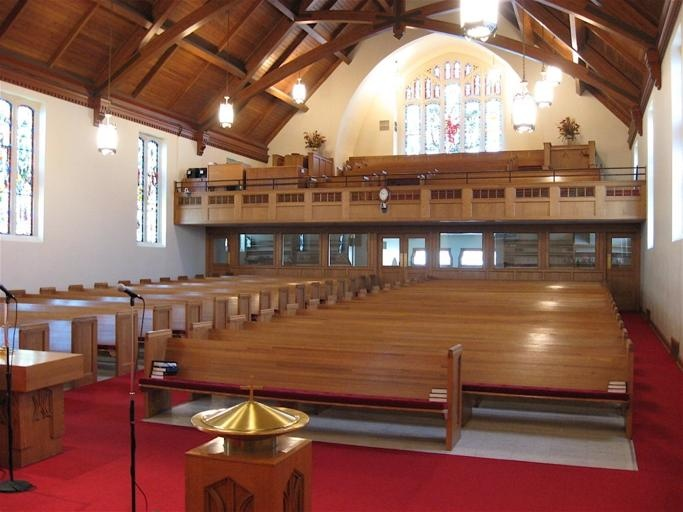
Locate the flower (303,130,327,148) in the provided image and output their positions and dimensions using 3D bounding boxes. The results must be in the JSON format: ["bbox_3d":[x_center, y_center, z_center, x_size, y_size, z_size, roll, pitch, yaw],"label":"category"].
[{"bbox_3d":[-1.010,-4.419,21.337,0.762,0.575,0.737,1,10,11],"label":"flower"}]

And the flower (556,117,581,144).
[{"bbox_3d":[7.767,-4.298,19.186,0.587,0.894,0.633,7,12,33],"label":"flower"}]

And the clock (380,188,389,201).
[{"bbox_3d":[1.265,-1.823,16.727,0.242,0.363,0.127,-2,-4,33],"label":"clock"}]

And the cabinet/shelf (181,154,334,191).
[{"bbox_3d":[-2.764,-2.886,19.288,5.028,1.316,2.347,-1,10,-8],"label":"cabinet/shelf"}]
